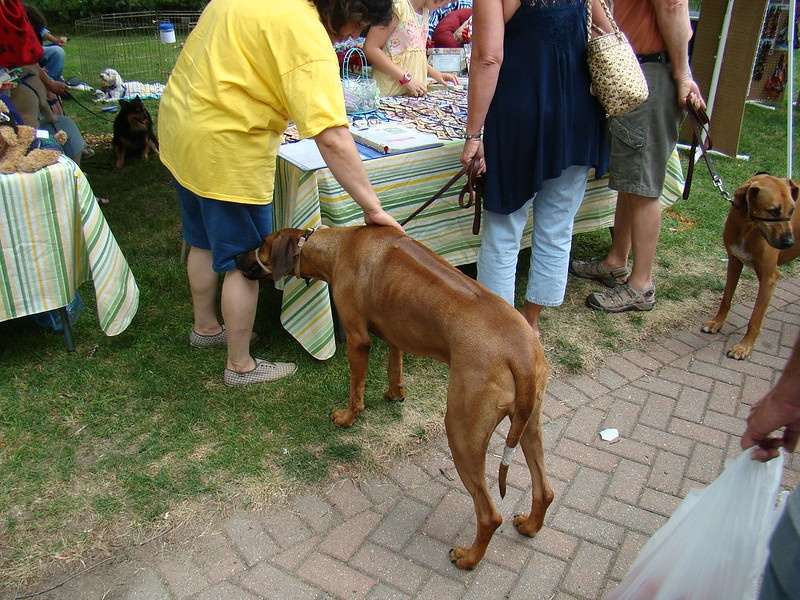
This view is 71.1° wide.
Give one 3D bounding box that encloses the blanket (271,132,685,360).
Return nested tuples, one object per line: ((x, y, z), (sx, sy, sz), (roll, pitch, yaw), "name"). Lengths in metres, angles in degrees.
((0.428, -0.706, 3.780), (2.518, 0.803, 1.565), (-18, 43, -21), "blanket")

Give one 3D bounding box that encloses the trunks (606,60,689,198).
((1.797, -1.091, 4.019), (0.459, 0.627, 0.908), (3, 72, 38), "trunks")

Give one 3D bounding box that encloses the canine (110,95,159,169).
((-3.044, -1.973, 6.431), (0.519, 0.789, 0.844), (-20, 32, -34), "canine")

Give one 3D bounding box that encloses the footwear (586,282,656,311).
((1.674, 0.006, 4.366), (0.499, 0.274, 0.214), (2, 17, -1), "footwear")

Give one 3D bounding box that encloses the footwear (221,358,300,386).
((-0.839, 0.462, 3.445), (0.422, 0.180, 0.167), (-8, 20, -22), "footwear")

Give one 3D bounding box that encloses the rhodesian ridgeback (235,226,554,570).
((-0.080, 0.295, 2.990), (1.892, 1.301, 0.597), (30, 41, 32), "rhodesian ridgeback")

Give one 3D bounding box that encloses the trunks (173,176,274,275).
((-1.093, -0.358, 3.106), (0.551, 0.342, 0.439), (-2, 50, -39), "trunks")

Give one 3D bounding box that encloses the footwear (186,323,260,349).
((-1.184, 0.254, 3.819), (0.456, 0.217, 0.174), (-4, 19, -18), "footwear")
